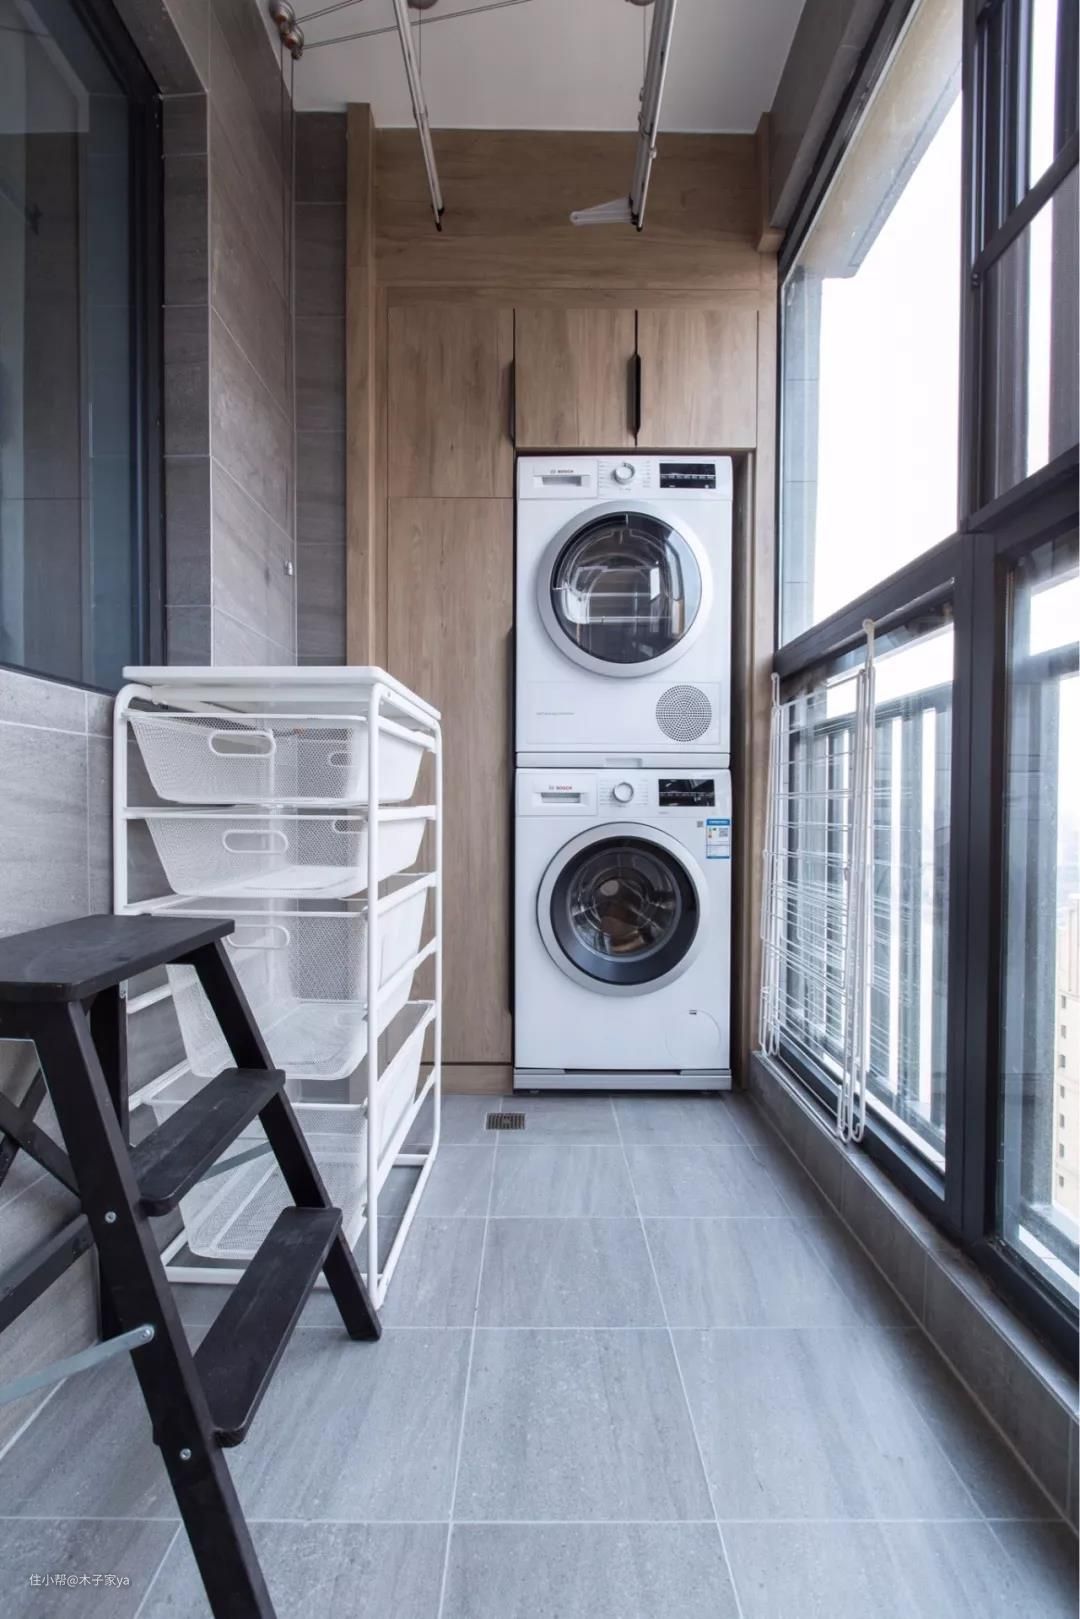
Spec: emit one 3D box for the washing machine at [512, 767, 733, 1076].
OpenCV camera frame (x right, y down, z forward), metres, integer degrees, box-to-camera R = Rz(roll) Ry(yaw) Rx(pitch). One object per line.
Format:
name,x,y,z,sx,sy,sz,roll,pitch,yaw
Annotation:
washing machine,0.209,0.279,2.790,0.458,1.085,0.609,0,-4,1

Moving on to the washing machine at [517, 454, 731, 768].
washing machine,0.211,-0.440,2.783,0.463,1.145,0.580,0,-2,0
